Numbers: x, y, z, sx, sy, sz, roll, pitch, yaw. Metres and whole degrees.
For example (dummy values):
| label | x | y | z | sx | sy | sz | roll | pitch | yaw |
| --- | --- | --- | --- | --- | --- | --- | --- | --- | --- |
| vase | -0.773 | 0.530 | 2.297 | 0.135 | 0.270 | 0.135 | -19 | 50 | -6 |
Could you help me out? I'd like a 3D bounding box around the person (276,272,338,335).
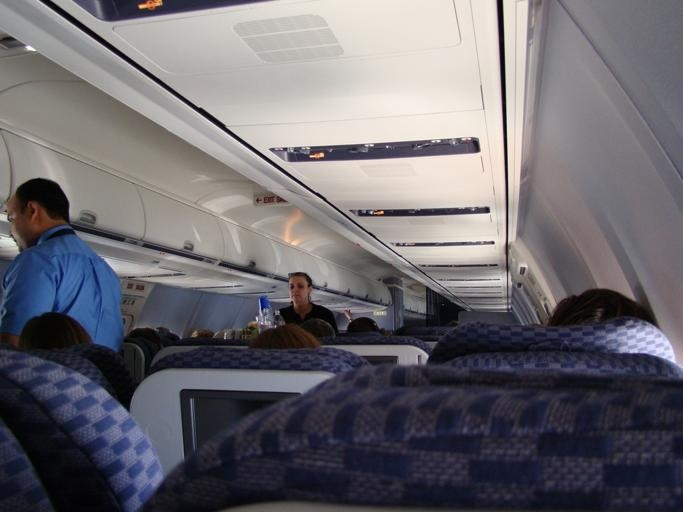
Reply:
| label | x | y | z | sx | sy | sz | roll | pitch | yaw |
| --- | --- | --- | --- | --- | --- | --- | --- | --- | --- |
| person | -0.537 | 0.715 | 6.306 | 1.152 | 0.926 | 0.585 | -2 | -14 | 9 |
